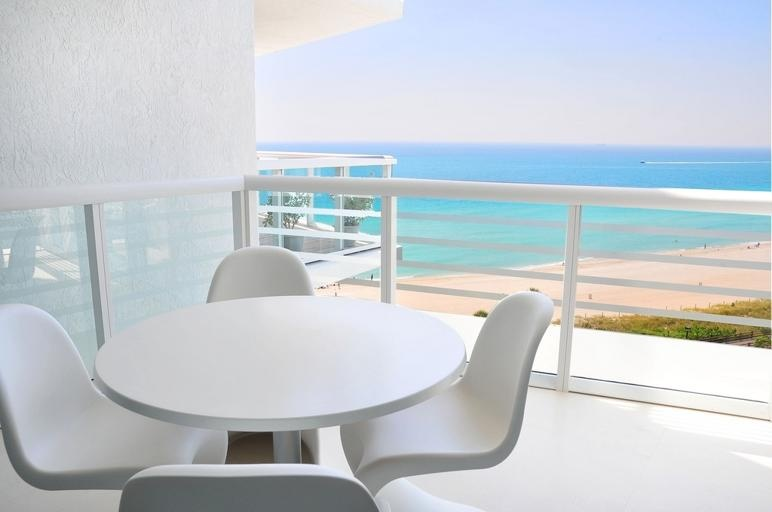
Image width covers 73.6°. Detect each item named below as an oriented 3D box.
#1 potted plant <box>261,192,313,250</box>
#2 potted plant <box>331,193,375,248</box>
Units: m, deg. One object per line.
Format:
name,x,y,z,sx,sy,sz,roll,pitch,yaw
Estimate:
potted plant,-0.682,-0.229,3.495,0.320,0.391,0.125,2,11,-11
potted plant,-0.235,-0.228,3.718,0.280,0.388,0.393,0,10,-25
